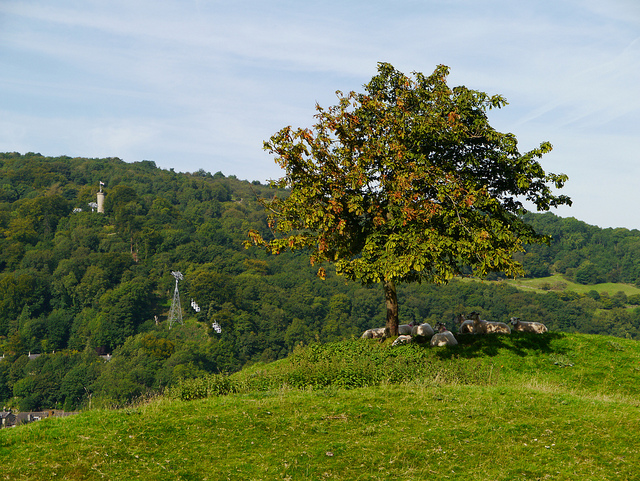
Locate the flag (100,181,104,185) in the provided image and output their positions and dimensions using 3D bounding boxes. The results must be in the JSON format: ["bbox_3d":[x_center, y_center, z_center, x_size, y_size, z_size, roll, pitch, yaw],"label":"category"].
[{"bbox_3d":[-66.934,-17.660,366.773,2.121,0.548,0.312,29,27,20],"label":"flag"}]
